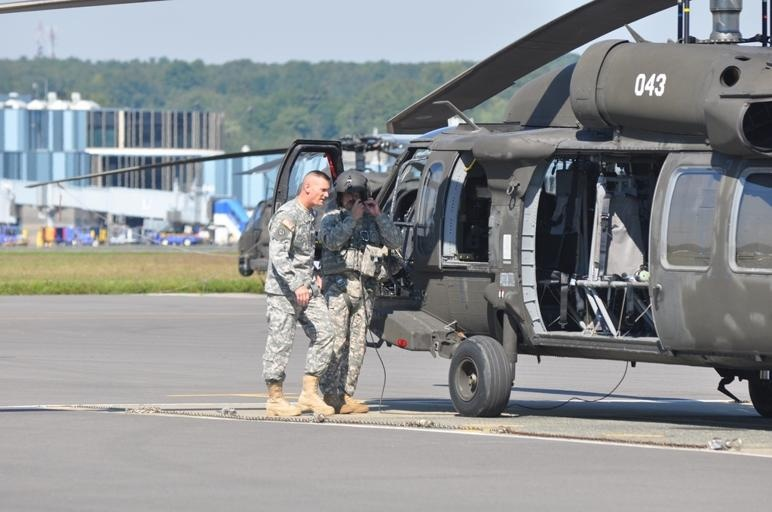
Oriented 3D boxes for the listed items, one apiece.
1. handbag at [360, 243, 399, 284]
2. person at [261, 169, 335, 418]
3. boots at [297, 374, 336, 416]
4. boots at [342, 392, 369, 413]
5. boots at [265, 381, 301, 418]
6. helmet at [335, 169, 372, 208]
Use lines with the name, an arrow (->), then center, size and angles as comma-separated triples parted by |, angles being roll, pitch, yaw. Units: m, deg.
handbag -> -0.063, 0.065, 15.964 | 0.349, 0.319, 0.442 | 6, -10, 5
person -> -0.874, 0.390, 15.272 | 0.733, 2.588, 0.586 | 3, 2, -6
boots -> -0.703, 1.480, 15.448 | 0.489, 0.409, 0.198 | 6, -1, 32
boots -> -0.375, 1.625, 15.846 | 0.376, 0.150, 0.124 | -1, -4, 19
boots -> -1.054, 1.514, 15.317 | 0.403, 0.347, 0.166 | 0, 2, 23
helmet -> -0.332, -0.805, 15.744 | 0.363, 0.347, 0.435 | 1, 27, 4
